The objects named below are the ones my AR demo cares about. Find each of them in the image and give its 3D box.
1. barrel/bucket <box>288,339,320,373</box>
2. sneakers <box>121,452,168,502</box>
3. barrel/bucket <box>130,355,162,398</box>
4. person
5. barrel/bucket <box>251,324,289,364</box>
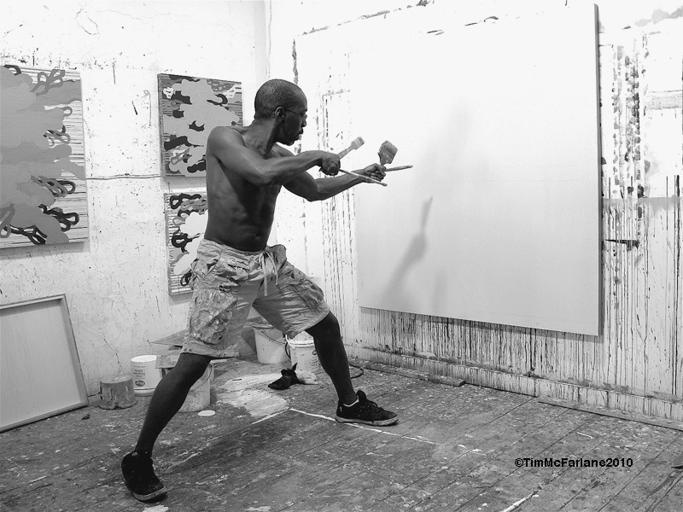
[{"bbox_3d":[-0.247,0.729,3.944,0.258,0.233,0.261,-4,-5,0],"label":"barrel/bucket"},{"bbox_3d":[-0.906,1.011,2.429,0.135,0.193,0.216,-11,13,-40],"label":"sneakers"},{"bbox_3d":[-1.336,0.826,3.617,0.217,0.221,0.227,-1,-1,0],"label":"barrel/bucket"},{"bbox_3d":[-0.455,0.075,2.684,1.420,1.918,0.568,-8,12,-28],"label":"person"},{"bbox_3d":[-0.540,0.699,4.221,0.291,0.218,0.278,-1,-1,0],"label":"barrel/bucket"}]
